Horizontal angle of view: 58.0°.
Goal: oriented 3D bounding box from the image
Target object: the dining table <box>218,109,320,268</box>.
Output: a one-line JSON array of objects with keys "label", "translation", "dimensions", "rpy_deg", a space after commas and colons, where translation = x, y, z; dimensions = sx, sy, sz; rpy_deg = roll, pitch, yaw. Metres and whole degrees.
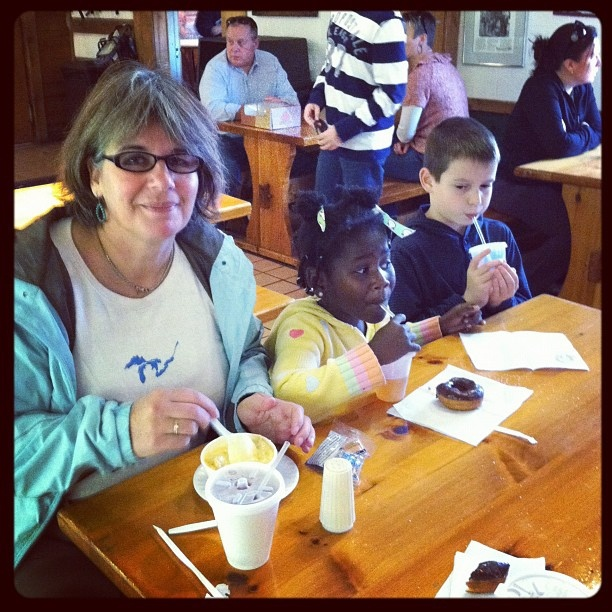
[{"label": "dining table", "translation": [-0.281, -0.765, 3.807], "dimensions": [0.889, 0.851, 0.773], "rpy_deg": [1, 12, 13]}]

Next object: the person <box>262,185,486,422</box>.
[{"label": "person", "translation": [0.194, -0.055, 1.559], "dimensions": [0.438, 0.831, 0.587], "rpy_deg": [2, 16, 31]}]

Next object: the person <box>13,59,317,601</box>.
[{"label": "person", "translation": [-0.215, -0.039, 1.728], "dimensions": [0.845, 1.543, 0.877], "rpy_deg": [5, 8, 37]}]

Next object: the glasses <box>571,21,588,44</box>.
[{"label": "glasses", "translation": [1.286, -1.292, 2.597], "dimensions": [0.070, 0.105, 0.184], "rpy_deg": [5, 21, 25]}]

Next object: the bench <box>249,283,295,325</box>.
[{"label": "bench", "translation": [-0.143, -0.004, 2.192], "dimensions": [0.135, 0.036, 0.142], "rpy_deg": [-28, 42, -35]}]

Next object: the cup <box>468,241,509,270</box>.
[{"label": "cup", "translation": [0.641, -0.202, 1.899], "dimensions": [0.103, 0.087, 0.109], "rpy_deg": [-15, -8, -2]}]

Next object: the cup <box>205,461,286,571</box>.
[{"label": "cup", "translation": [-0.082, 0.303, 0.835], "dimensions": [0.125, 0.133, 0.128], "rpy_deg": [1, 25, -1]}]

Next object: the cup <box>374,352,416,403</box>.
[{"label": "cup", "translation": [0.201, 0.166, 1.278], "dimensions": [0.054, 0.078, 0.073], "rpy_deg": [28, 45, 36]}]

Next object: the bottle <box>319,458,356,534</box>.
[{"label": "bottle", "translation": [0.052, 0.309, 0.910], "dimensions": [0.061, 0.099, 0.088], "rpy_deg": [3, 20, 21]}]
